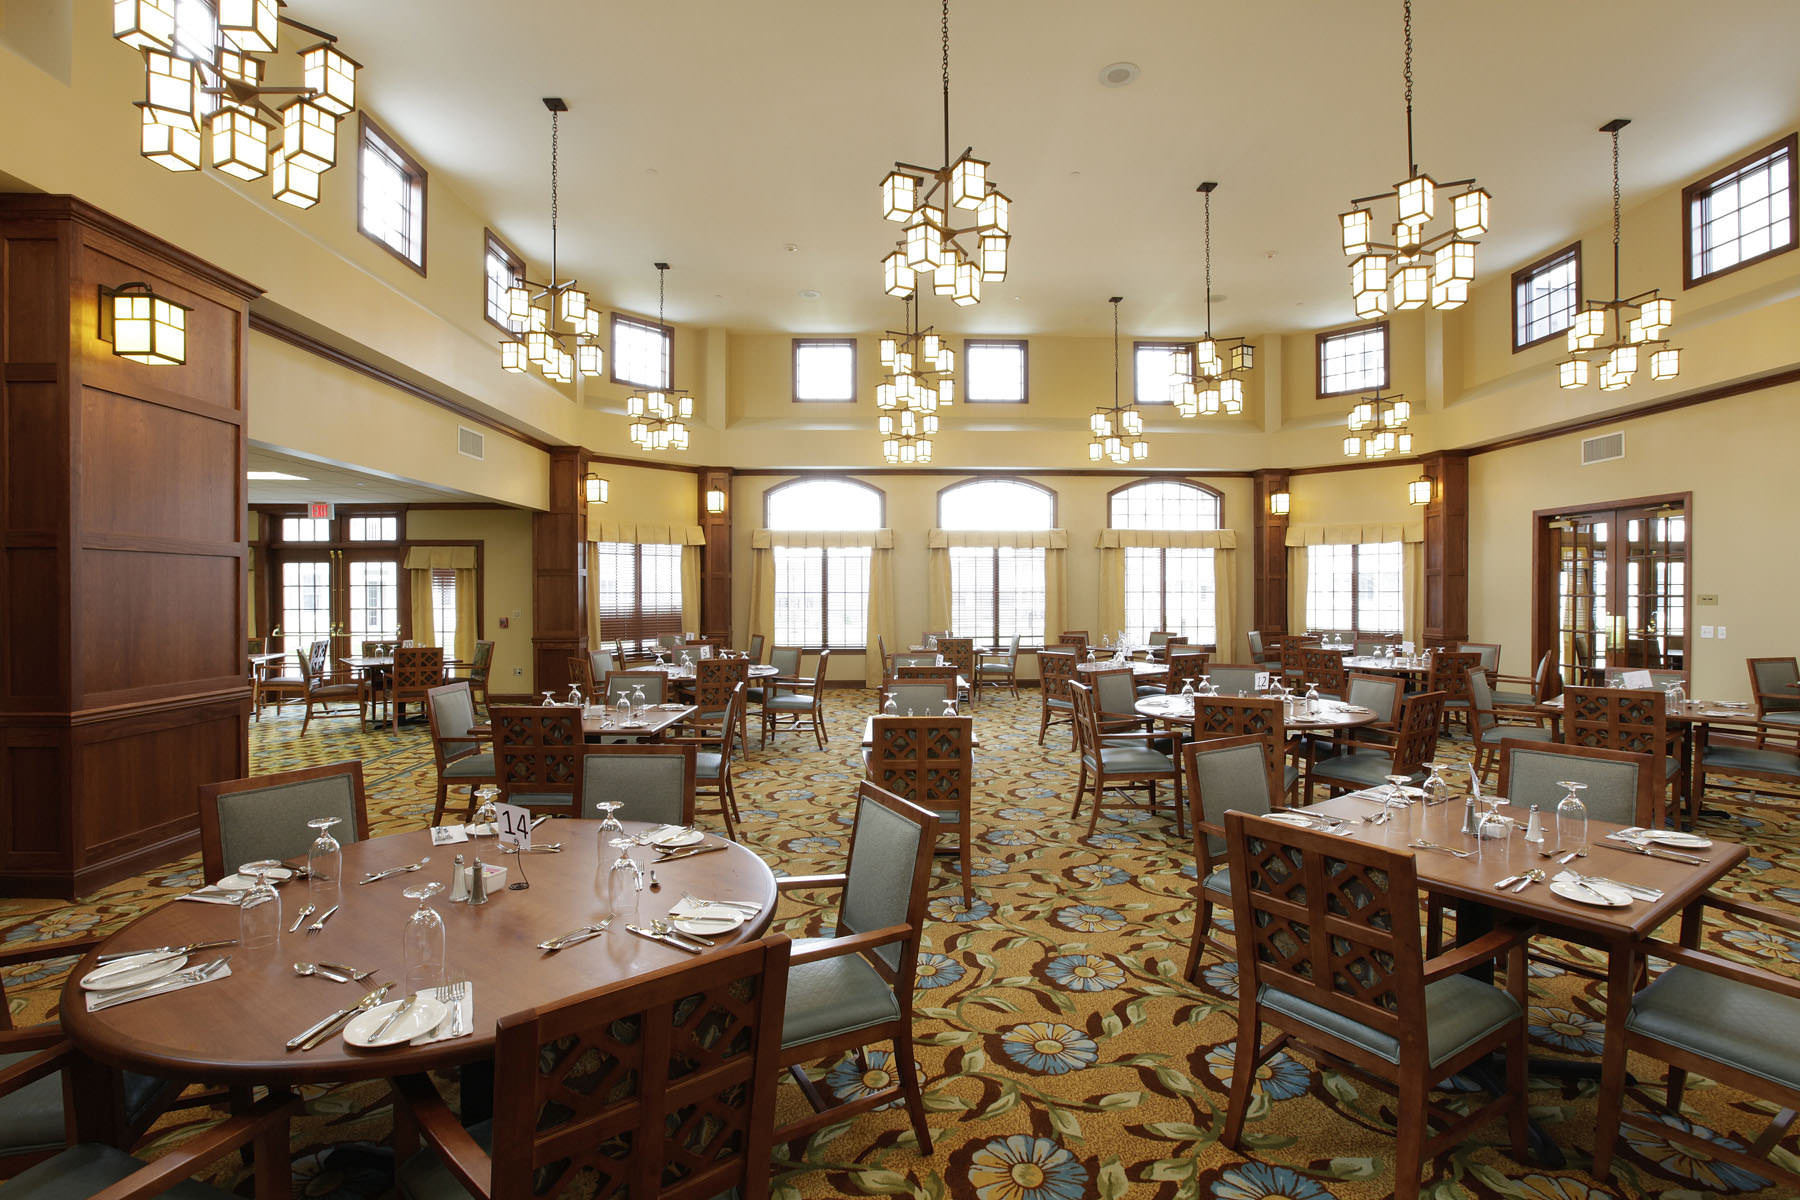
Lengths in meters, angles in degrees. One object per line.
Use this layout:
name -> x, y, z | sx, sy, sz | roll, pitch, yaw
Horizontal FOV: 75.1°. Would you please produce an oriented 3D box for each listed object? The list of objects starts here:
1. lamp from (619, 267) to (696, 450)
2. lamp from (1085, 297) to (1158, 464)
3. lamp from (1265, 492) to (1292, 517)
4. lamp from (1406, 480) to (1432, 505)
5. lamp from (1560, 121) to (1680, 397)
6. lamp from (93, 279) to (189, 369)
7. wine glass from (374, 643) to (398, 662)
lamp -> -3.007, -2.747, 14.469 | 0.858, 2.138, 2.964 | -2, -2, -10
lamp -> 2.770, -2.689, 14.894 | 0.733, 2.160, 3.328 | -3, -2, 12
lamp -> 5.256, -1.343, 16.243 | 0.342, 0.264, 0.130 | -2, -2, 4
lamp -> 6.463, -1.357, 14.550 | 0.298, 0.398, 0.290 | 1, -2, 4
lamp -> 6.702, -3.290, 10.954 | 1.119, 2.239, 1.099 | -2, 12, 24
lamp -> -5.133, -1.866, 8.105 | 0.548, 0.771, 0.516 | -1, 2, 3
wine glass -> -6.141, 0.624, 13.979 | 0.187, 0.170, 0.103 | 1, 3, 44
